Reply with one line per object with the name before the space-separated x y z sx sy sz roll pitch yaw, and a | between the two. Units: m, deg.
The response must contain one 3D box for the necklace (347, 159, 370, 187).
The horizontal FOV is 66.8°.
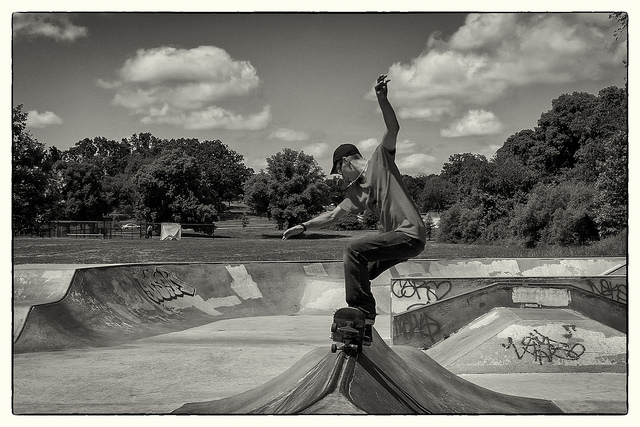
necklace | 0.716 -0.752 8.779 0.032 0.587 0.069 39 -2 -12
